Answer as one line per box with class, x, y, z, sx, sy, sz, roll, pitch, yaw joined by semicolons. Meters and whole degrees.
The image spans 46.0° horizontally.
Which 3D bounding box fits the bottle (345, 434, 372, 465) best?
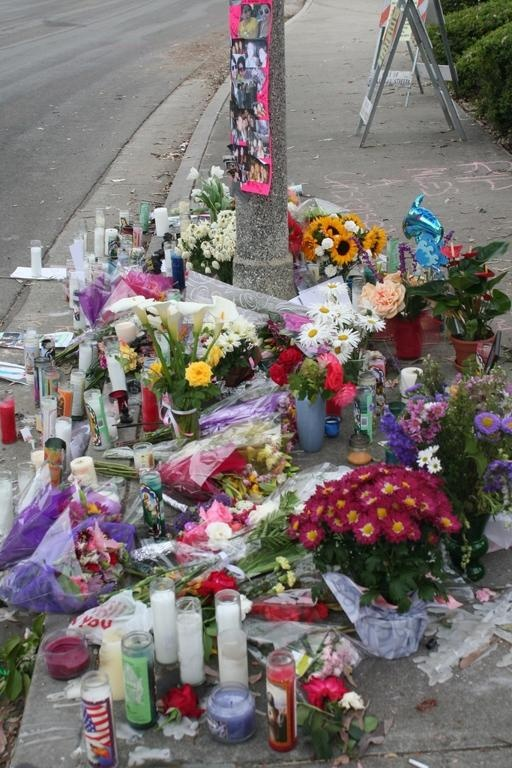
bottle;0.531;0.342;3.116;0.134;0.146;0.147;-1;0;3
